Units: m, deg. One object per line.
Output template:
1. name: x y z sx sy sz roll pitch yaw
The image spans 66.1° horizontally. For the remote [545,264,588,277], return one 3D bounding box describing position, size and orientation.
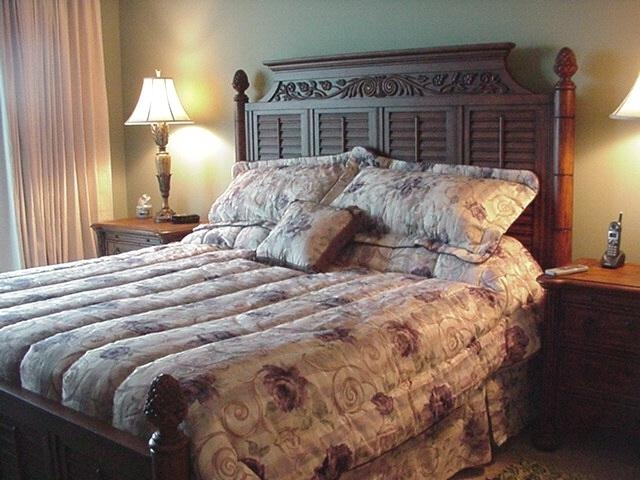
1. remote: 1.133 0.140 2.255 0.166 0.020 0.080 -6 8 -25
